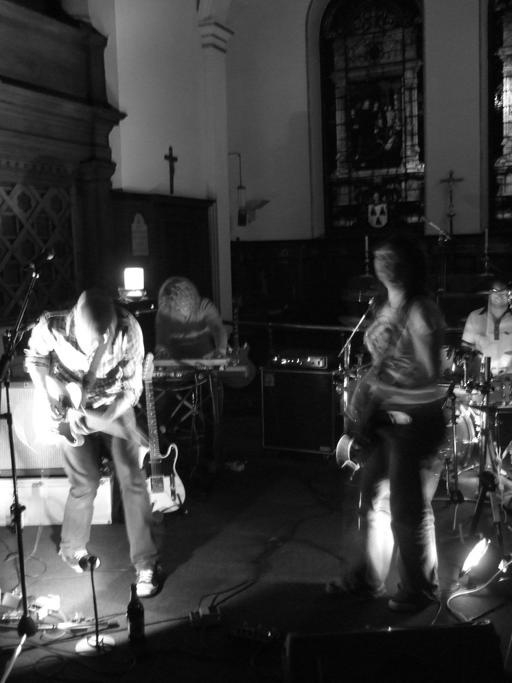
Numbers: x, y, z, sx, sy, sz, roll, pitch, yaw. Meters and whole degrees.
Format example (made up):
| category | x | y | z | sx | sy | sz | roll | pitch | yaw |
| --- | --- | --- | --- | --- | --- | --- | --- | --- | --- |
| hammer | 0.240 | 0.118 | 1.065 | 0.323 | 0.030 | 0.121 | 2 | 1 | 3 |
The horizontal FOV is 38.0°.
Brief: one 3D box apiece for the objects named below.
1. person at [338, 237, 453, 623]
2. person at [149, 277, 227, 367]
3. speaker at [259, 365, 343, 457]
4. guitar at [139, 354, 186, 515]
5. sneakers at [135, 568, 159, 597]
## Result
| category | x | y | z | sx | sy | sz | roll | pitch | yaw |
| --- | --- | --- | --- | --- | --- | --- | --- | --- | --- |
| person | 0.610 | 0.389 | 3.253 | 0.295 | 1.666 | 0.514 | -9 | 9 | -42 |
| person | -0.519 | -0.154 | 5.545 | 0.463 | 0.965 | 0.616 | -6 | 15 | -8 |
| speaker | 0.370 | 0.420 | 5.933 | 0.706 | 0.871 | 0.577 | 1 | 6 | 29 |
| guitar | -0.608 | 0.565 | 4.454 | 0.289 | 1.073 | 0.115 | 0 | 27 | 7 |
| sneakers | -0.525 | 1.173 | 3.611 | 0.080 | 0.095 | 0.223 | 0 | -6 | -3 |
